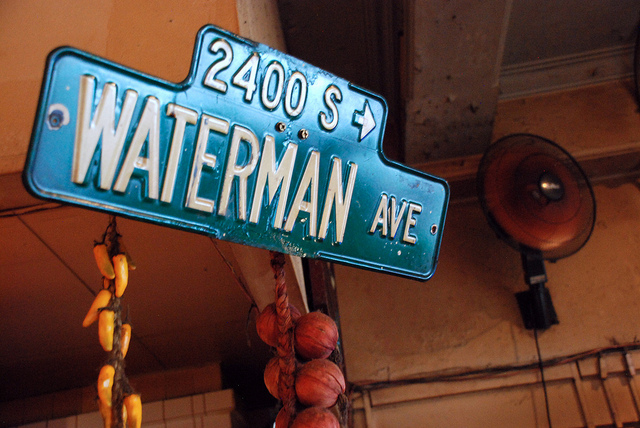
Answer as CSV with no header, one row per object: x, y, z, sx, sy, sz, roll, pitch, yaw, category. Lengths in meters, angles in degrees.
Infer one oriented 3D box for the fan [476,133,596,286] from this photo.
1.507,-0.031,4.755,0.716,0.984,0.578,-2,-1,23,fan

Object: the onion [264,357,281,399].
-0.246,0.853,3.583,0.077,0.200,0.266,0,-26,-7,onion

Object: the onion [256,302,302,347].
-0.218,0.587,3.609,0.181,0.200,0.221,-19,-1,-9,onion
